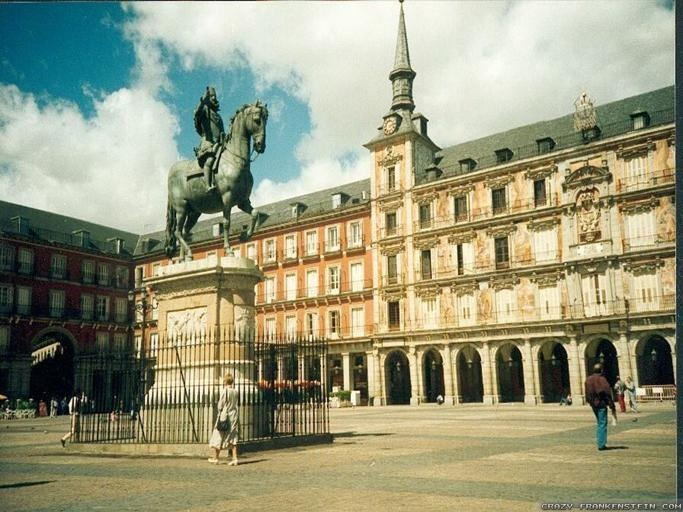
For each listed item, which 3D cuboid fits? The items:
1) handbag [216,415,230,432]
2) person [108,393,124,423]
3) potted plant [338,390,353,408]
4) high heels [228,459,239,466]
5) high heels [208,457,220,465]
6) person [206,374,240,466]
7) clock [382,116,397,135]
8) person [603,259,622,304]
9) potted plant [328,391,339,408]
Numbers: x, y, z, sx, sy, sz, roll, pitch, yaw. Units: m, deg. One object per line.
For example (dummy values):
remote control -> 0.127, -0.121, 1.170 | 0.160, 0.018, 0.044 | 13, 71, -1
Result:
handbag -> -2.969, 4.231, 19.110 | 0.338, 0.375, 0.285 | 9, -14, -5
person -> -6.511, 4.387, 21.936 | 0.359, 0.727, 2.141 | 2, -16, -17
potted plant -> 0.254, 9.751, 52.034 | 0.878, 1.111, 0.990 | -1, -4, 8
high heels -> -2.692, 5.129, 18.886 | 0.261, 0.122, 0.107 | -12, -21, 35
high heels -> -3.227, 5.168, 19.196 | 0.107, 0.121, 0.292 | 16, -17, -29
person -> -3.013, 4.176, 19.420 | 0.784, 2.282, 1.037 | 0, -15, -12
clock -> 3.569, -9.607, 55.964 | 1.277, 1.592, 0.576 | -8, -15, 19
person -> 16.093, 1.493, 44.565 | 0.844, 3.677, 0.411 | -26, -69, 30
potted plant -> -0.409, 9.734, 51.890 | 0.714, 1.154, 1.290 | -2, -15, -2
